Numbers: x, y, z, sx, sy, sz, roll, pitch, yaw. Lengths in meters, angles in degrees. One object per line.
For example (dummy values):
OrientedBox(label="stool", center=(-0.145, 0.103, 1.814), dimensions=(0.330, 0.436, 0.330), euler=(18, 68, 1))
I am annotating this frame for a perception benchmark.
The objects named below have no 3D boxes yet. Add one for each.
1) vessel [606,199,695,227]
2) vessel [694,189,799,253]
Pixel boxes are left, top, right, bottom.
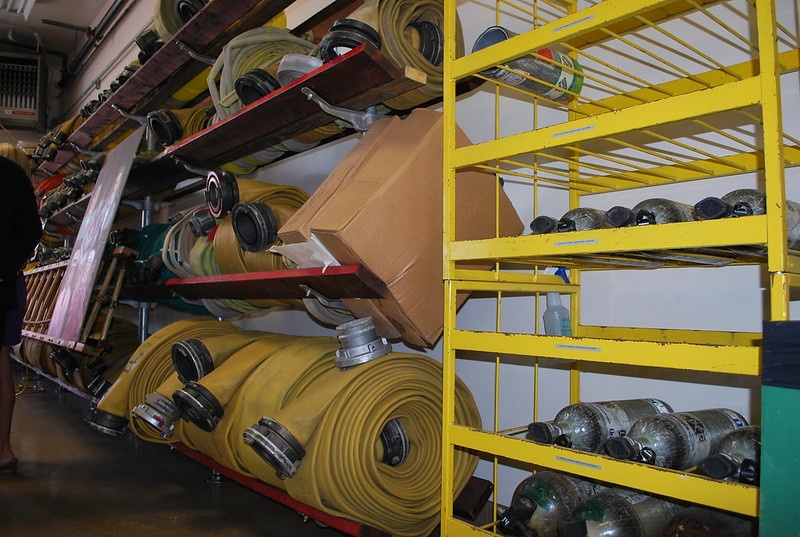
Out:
OrientedBox(label="vessel", center=(0.850, -0.194, 1.857), dimensions=(0.201, 0.120, 0.393), euler=(-1, 0, 40))
OrientedBox(label="vessel", center=(1.106, -0.161, 1.723), dimensions=(0.214, 0.220, 0.432), euler=(-1, -1, 44))
